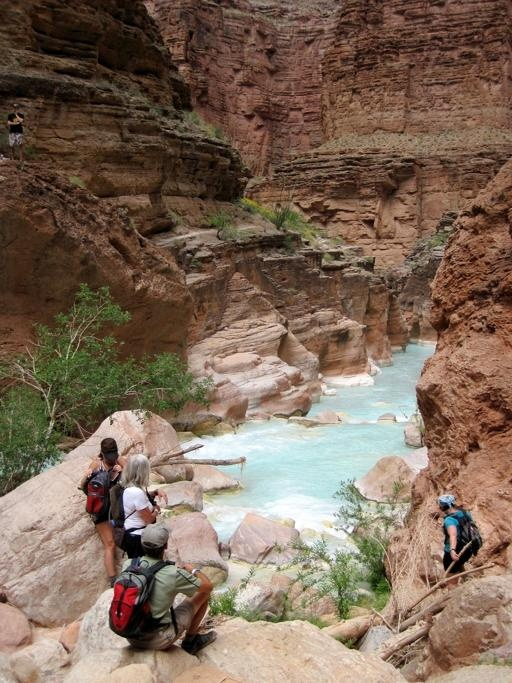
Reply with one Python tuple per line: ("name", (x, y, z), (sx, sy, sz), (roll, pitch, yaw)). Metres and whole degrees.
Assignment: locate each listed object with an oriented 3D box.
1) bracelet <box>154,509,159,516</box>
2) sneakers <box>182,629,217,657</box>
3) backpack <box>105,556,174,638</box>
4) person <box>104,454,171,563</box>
("bracelet", (-0.685, 1.175, 4.319), (0.022, 0.047, 0.042), (-4, 16, -15))
("sneakers", (-0.305, 1.595, 3.372), (0.073, 0.089, 0.207), (7, 6, 34))
("backpack", (-0.616, 1.273, 3.154), (0.272, 0.338, 0.381), (1, -8, 29))
("person", (-0.833, 1.330, 4.429), (0.447, 1.065, 0.397), (-2, 13, -23))
